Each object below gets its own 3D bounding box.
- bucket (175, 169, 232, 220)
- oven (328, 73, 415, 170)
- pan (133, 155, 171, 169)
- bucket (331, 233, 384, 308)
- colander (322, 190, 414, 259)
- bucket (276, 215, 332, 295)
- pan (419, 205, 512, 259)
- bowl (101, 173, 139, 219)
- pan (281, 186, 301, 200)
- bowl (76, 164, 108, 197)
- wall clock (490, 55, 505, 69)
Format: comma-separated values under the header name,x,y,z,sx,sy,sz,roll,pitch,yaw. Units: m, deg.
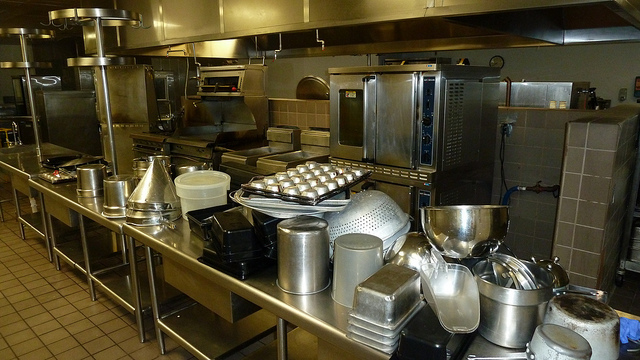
name,x,y,z,sx,sy,sz,roll,pitch,yaw
bucket,-1.010,0.141,3.753,0.465,0.399,0.281,-1,16,-2
oven,0.744,-0.723,5.160,0.785,1.065,1.421,-11,16,-36
pan,-1.676,-0.167,4.212,0.238,0.179,0.236,-1,-2,24
bucket,0.238,0.626,3.181,0.496,0.425,0.470,1,8,0
colander,0.367,0.293,3.243,0.586,0.261,0.544,-13,10,24
bucket,-0.118,0.562,3.089,0.373,0.493,0.183,-1,17,-1
pan,0.996,0.375,3.001,0.583,0.400,0.172,2,17,11
bowl,-1.819,0.138,4.071,0.420,0.348,0.410,2,10,0
pan,-0.202,0.094,3.161,0.113,0.048,0.101,2,8,-8
bowl,-2.234,0.001,4.348,0.346,0.272,0.312,1,14,-17
wall clock,3.079,-2.056,7.488,0.238,0.235,0.242,5,16,20
